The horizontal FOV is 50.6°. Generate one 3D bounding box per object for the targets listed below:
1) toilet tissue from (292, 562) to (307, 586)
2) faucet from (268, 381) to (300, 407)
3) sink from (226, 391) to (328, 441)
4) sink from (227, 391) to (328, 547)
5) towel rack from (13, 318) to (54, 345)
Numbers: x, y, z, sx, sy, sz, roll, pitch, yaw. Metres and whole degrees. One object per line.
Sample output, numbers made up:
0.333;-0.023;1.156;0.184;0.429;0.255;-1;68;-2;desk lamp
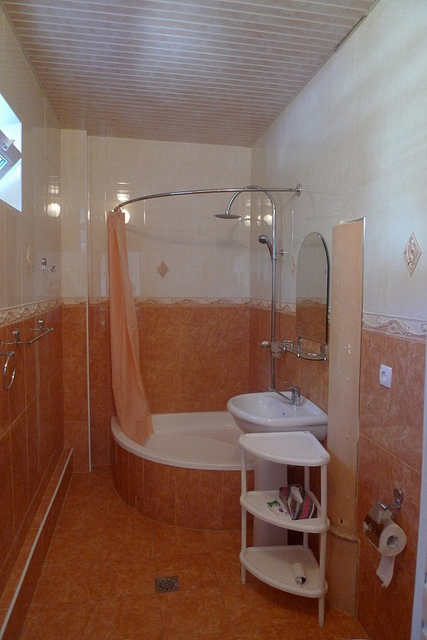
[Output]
0.350;1.026;1.821;0.058;0.039;0.160;1;2;9;toilet tissue
0.423;0.404;2.490;0.051;0.125;0.276;-2;5;-12;faucet
0.302;0.522;2.358;0.408;0.200;0.662;-1;1;-6;sink
0.283;0.684;2.270;0.352;0.669;0.630;2;5;-12;sink
-0.842;0.049;2.114;0.070;0.093;0.721;0;2;-15;towel rack
